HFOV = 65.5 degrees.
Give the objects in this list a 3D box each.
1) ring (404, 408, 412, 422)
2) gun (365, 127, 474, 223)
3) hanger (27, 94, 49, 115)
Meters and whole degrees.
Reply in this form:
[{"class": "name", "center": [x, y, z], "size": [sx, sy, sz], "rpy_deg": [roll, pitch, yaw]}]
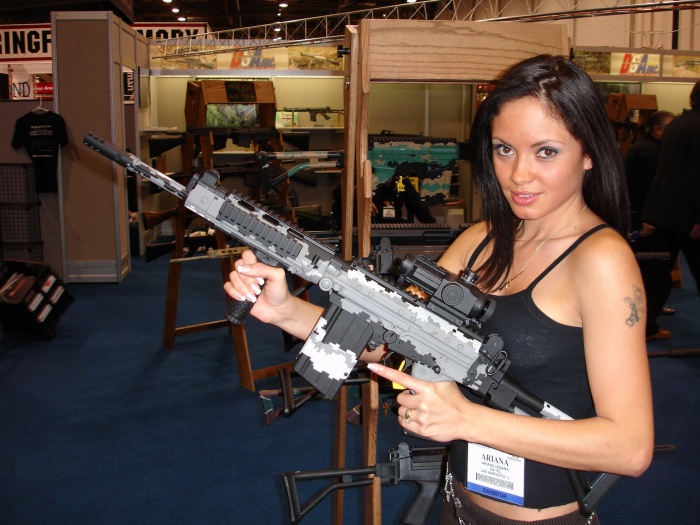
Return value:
[{"class": "ring", "center": [0.175, 0.456, 1.636], "size": [0.010, 0.033, 0.023], "rpy_deg": [7, -7, -39]}, {"class": "gun", "center": [0.477, -0.658, 3.995], "size": [0.750, 0.654, 0.101], "rpy_deg": [3, 3, 25]}, {"class": "hanger", "center": [-3.737, -1.912, 6.582], "size": [0.200, 0.179, 0.337], "rpy_deg": [-8, 18, -27]}]
